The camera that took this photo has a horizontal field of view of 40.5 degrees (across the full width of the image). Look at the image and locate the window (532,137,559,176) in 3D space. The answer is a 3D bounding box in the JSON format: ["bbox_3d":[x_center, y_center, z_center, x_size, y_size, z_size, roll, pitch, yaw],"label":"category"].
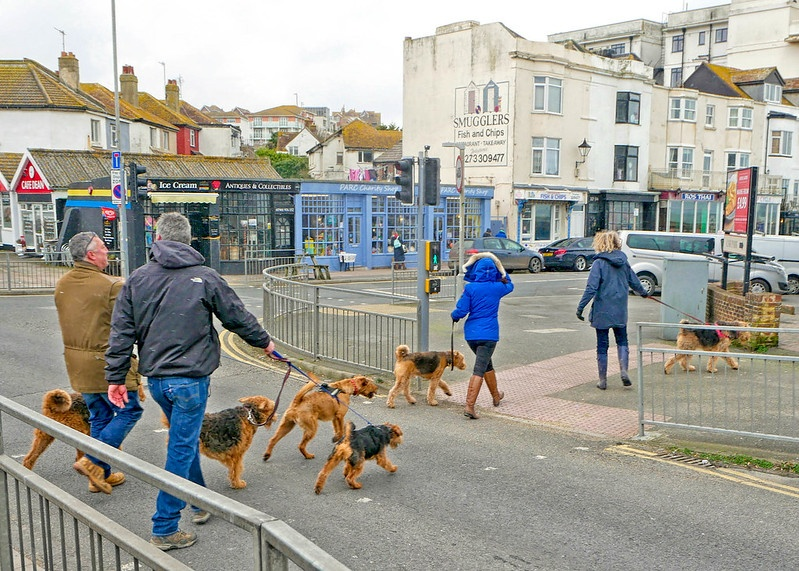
[{"bbox_3d":[6.554,-5.649,48.588,0.207,1.663,2.319,-4,9,-27],"label":"window"}]

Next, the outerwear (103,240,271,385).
[{"bbox_3d":[-3.507,0.449,17.990,3.351,2.696,2.105,-1,8,10],"label":"outerwear"}]

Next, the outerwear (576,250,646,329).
[{"bbox_3d":[4.207,0.089,21.772,1.740,1.500,0.673,-4,7,-24],"label":"outerwear"}]

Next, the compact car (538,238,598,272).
[{"bbox_3d":[6.837,-1.173,42.291,2.784,0.867,1.237,-5,6,-30],"label":"compact car"}]

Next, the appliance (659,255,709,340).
[{"bbox_3d":[6.683,0.152,25.713,1.049,2.037,1.120,2,22,2],"label":"appliance"}]

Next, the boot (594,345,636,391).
[{"bbox_3d":[4.221,1.632,21.681,0.907,0.994,0.780,0,3,12],"label":"boot"}]

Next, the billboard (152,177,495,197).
[{"bbox_3d":[-3.061,-3.671,41.337,13.617,0.901,0.736,-5,7,-37],"label":"billboard"}]

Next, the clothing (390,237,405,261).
[{"bbox_3d":[-0.118,-1.403,42.874,0.581,1.054,0.880,-7,14,-13],"label":"clothing"}]

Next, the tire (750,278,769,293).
[{"bbox_3d":[10.357,0.009,30.960,0.424,0.404,0.138,-1,-7,-1],"label":"tire"}]

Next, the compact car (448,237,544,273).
[{"bbox_3d":[3.729,-1.089,41.553,3.905,1.478,1.986,-3,-1,-40],"label":"compact car"}]

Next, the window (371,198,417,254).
[{"bbox_3d":[-0.586,-2.608,43.964,2.720,2.568,0.125,-2,9,-15],"label":"window"}]

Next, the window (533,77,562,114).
[{"bbox_3d":[6.513,-8.355,47.894,2.095,1.537,0.252,-3,6,-41],"label":"window"}]

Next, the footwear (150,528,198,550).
[{"bbox_3d":[-3.587,4.017,17.314,0.773,0.339,0.309,-4,10,-21],"label":"footwear"}]

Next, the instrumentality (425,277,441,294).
[{"bbox_3d":[0.710,-0.005,22.134,0.246,0.319,0.466,2,6,26],"label":"instrumentality"}]

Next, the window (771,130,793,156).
[{"bbox_3d":[21.562,-8.008,60.975,1.537,2.069,0.123,0,-1,-15],"label":"window"}]

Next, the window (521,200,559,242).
[{"bbox_3d":[6.510,-2.852,49.275,2.579,1.756,0.189,-3,7,-33],"label":"window"}]

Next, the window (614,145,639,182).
[{"bbox_3d":[11.027,-5.874,52.591,1.844,1.757,0.126,-3,7,-37],"label":"window"}]

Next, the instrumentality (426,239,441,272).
[{"bbox_3d":[0.679,-0.583,22.299,0.208,0.649,0.576,2,6,20],"label":"instrumentality"}]

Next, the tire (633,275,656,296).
[{"bbox_3d":[6.177,-0.007,27.123,0.584,0.557,0.215,2,-8,-24],"label":"tire"}]

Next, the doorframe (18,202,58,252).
[{"bbox_3d":[-14.845,-2.369,43.379,0.892,2.108,2.351,15,-1,-27],"label":"doorframe"}]

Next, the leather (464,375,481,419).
[{"bbox_3d":[1.373,2.071,20.544,0.370,0.803,0.351,-3,6,-18],"label":"leather"}]

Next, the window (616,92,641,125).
[{"bbox_3d":[10.936,-8.428,51.882,1.583,1.410,0.895,-4,5,-39],"label":"window"}]

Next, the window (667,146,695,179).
[{"bbox_3d":[14.443,-6.296,55.689,1.760,1.619,0.236,-4,10,-29],"label":"window"}]

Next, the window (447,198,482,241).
[{"bbox_3d":[2.786,-2.860,46.407,0.403,1.760,2.326,4,7,36],"label":"window"}]

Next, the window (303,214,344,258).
[{"bbox_3d":[-2.990,-1.988,42.125,0.191,1.719,2.389,-12,8,-33],"label":"window"}]

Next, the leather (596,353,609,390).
[{"bbox_3d":[4.053,1.682,21.583,0.178,0.708,0.288,0,6,6],"label":"leather"}]
